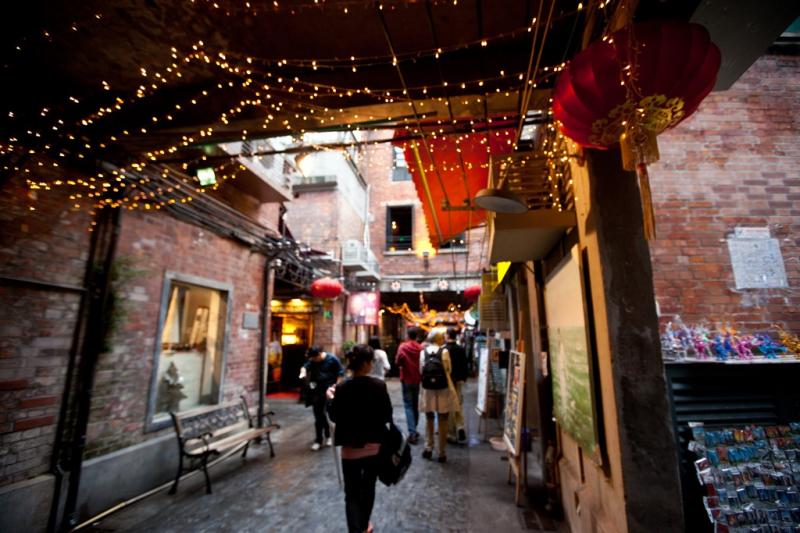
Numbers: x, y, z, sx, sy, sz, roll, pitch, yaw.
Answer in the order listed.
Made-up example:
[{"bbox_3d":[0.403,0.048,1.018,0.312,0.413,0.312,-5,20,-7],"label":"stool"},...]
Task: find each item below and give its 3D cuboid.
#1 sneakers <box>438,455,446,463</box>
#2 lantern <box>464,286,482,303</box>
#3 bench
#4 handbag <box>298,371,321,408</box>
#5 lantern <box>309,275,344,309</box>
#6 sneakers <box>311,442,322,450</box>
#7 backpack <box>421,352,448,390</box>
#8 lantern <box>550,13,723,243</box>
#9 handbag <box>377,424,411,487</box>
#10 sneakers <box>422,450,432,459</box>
[{"bbox_3d":[0.715,3.245,7.769,0.146,0.118,0.149,-3,-14,4],"label":"sneakers"},{"bbox_3d":[2.241,0.838,14.067,0.519,0.442,0.500,-1,-1,8],"label":"lantern"},{"bbox_3d":[-2.839,2.892,7.797,0.818,1.099,2.211,-4,-10,8],"label":"bench"},{"bbox_3d":[-1.982,2.851,10.580,0.597,0.643,0.591,14,-30,-14],"label":"handbag"},{"bbox_3d":[-1.902,0.597,11.453,0.893,0.938,0.900,0,-9,4],"label":"lantern"},{"bbox_3d":[-1.524,3.303,8.449,0.103,0.075,0.186,5,-26,12],"label":"sneakers"},{"bbox_3d":[0.607,1.800,7.881,0.479,0.708,0.399,-5,-42,11],"label":"backpack"},{"bbox_3d":[2.246,-1.515,4.378,1.434,1.375,0.720,-1,-14,-1],"label":"lantern"},{"bbox_3d":[-0.084,2.302,5.781,0.453,0.595,0.644,-2,-2,22],"label":"handbag"},{"bbox_3d":[0.471,3.203,7.844,0.183,0.176,0.111,3,-17,11],"label":"sneakers"}]
